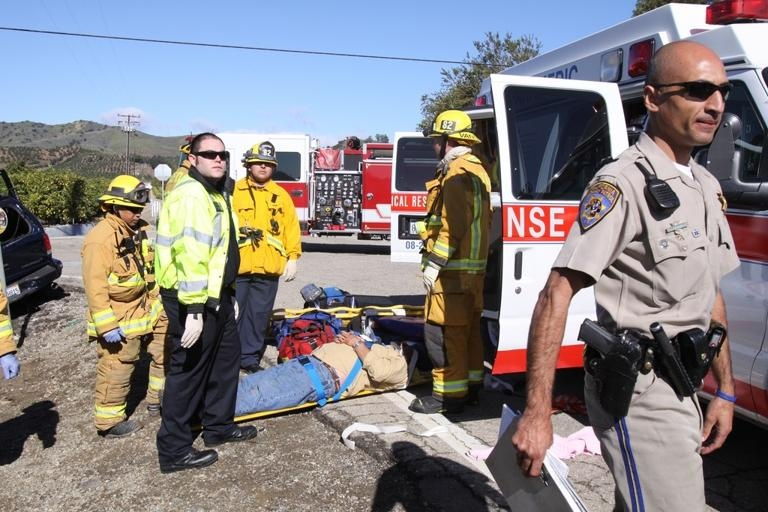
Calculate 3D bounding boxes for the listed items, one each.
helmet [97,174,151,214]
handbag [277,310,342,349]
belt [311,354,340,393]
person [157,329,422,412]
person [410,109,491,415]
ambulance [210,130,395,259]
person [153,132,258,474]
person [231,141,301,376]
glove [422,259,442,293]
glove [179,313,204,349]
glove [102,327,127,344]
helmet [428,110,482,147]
[{"bbox_3d":[-2.254,-0.544,4.928,0.384,0.262,0.304,2,11,-4],"label":"helmet"},{"bbox_3d":[-0.822,0.787,5.922,0.262,0.363,0.850,-2,0,23],"label":"handbag"},{"bbox_3d":[-0.541,1.081,5.109,0.290,0.128,0.209,42,23,5],"label":"belt"},{"bbox_3d":[-0.597,1.064,5.178,1.664,0.416,0.726,-10,30,-19],"label":"person"},{"bbox_3d":[0.604,0.056,5.187,0.815,2.677,0.797,-1,-2,44],"label":"person"},{"bbox_3d":[-2.662,-2.005,16.003,5.868,2.627,2.350,2,4,-2],"label":"ambulance"},{"bbox_3d":[-1.459,0.331,4.352,0.851,2.498,0.519,-11,16,-40],"label":"person"},{"bbox_3d":[-1.243,0.039,6.221,0.788,2.438,0.787,1,-1,19],"label":"person"},{"bbox_3d":[0.397,0.171,4.821,0.086,0.242,0.170,16,0,-4],"label":"glove"},{"bbox_3d":[-1.405,0.538,4.118,0.143,0.260,0.070,9,12,-14],"label":"glove"},{"bbox_3d":[-2.271,0.671,4.763,0.145,0.149,0.060,-20,7,-22],"label":"glove"},{"bbox_3d":[0.641,-1.172,5.078,0.404,0.237,0.298,11,19,16],"label":"helmet"}]
